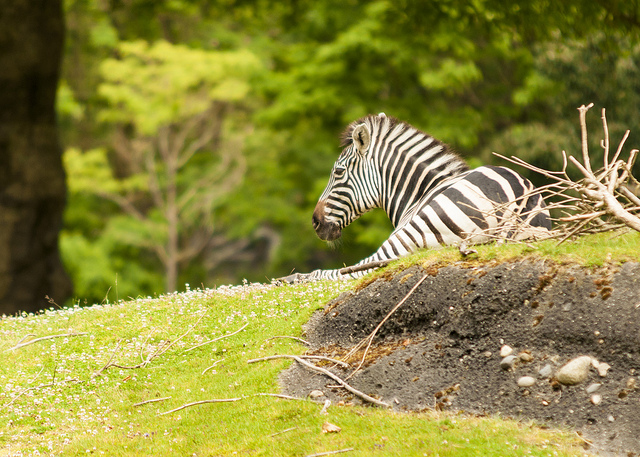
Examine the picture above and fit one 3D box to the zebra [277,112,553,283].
[{"bbox_3d":[3.119,-0.973,27.635,6.685,3.864,2.342,4,9,37],"label":"zebra"}]
